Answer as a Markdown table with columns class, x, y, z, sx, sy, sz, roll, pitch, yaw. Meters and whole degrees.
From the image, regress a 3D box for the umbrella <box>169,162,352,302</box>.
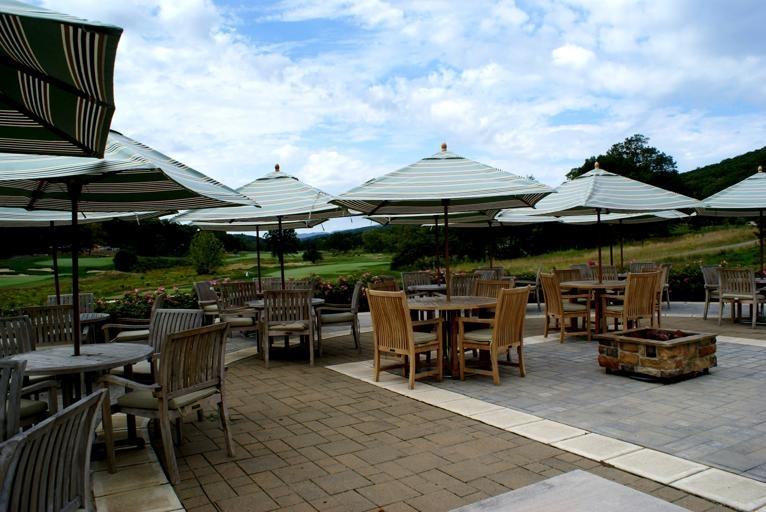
| class | x | y | z | sx | sy | sz | roll | pitch | yaw |
| --- | --- | --- | --- | --- | --- | --- | --- | --- | --- |
| umbrella | -2.462 | -0.588 | 10.490 | 4.240 | 2.281 | 3.670 | -1 | -1 | -30 |

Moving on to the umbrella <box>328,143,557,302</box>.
| class | x | y | z | sx | sy | sz | roll | pitch | yaw |
| --- | --- | --- | --- | --- | --- | --- | --- | --- | --- |
| umbrella | 1.068 | -0.536 | 8.495 | 3.280 | 1.971 | 3.640 | -3 | -2 | 8 |
